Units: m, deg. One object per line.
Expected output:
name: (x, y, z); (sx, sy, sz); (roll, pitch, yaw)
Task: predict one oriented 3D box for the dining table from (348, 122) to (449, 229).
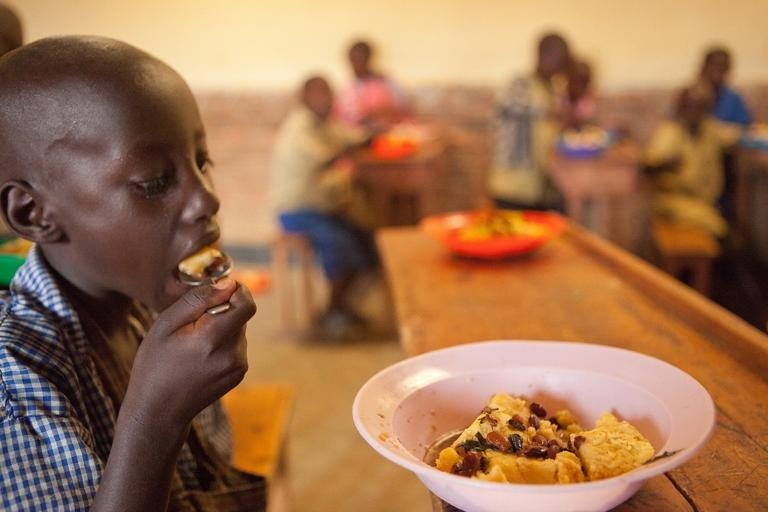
dining table: (0.144, -0.311, 2.877); (0.564, 0.753, 0.172); (14, 74, 0)
